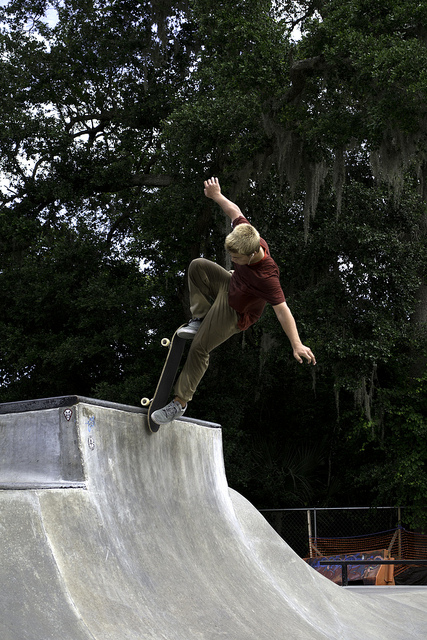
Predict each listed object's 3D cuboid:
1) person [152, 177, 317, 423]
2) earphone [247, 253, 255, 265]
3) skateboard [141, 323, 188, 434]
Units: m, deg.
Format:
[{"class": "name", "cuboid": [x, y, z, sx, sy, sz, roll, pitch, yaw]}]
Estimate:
[{"class": "person", "cuboid": [0.109, -0.157, 4.524, 0.993, 1.698, 0.606, 0, -3, 39]}, {"class": "earphone", "cuboid": [0.232, -0.389, 4.269, 0.016, 0.066, 0.012, 18, 25, -20]}, {"class": "skateboard", "cuboid": [-0.367, 0.330, 4.619, 0.135, 0.849, 0.223, 16, -6, 29]}]
